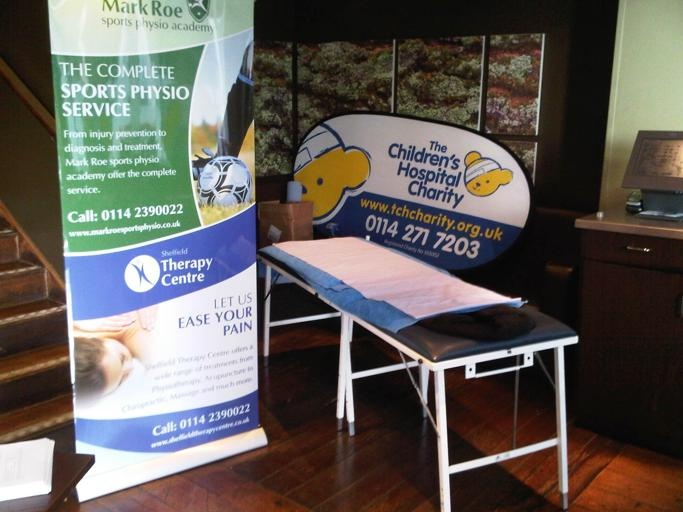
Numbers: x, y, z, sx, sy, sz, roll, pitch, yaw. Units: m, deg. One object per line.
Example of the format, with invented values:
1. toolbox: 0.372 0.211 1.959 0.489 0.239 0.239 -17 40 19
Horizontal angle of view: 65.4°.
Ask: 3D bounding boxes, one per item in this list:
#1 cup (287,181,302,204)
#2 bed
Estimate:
1. cup: -0.396 -0.542 4.562 0.159 0.173 0.150 0 5 0
2. bed: 0.339 0.556 2.849 0.702 0.914 1.750 -10 19 -37
